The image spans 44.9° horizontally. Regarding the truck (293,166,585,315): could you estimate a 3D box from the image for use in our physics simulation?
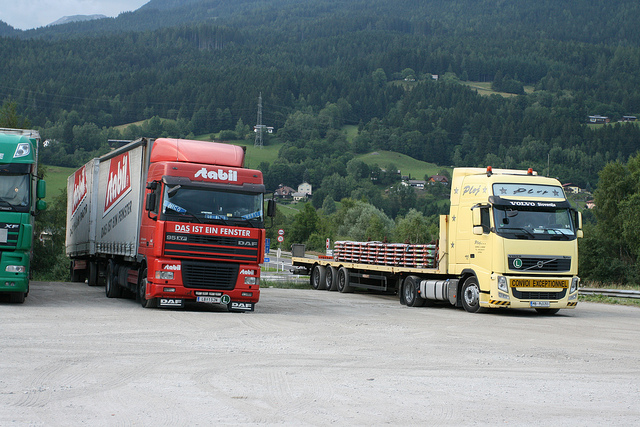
[{"bbox_3d":[3.602,1.162,33.443,3.882,5.400,15.935,3,-2,-28],"label":"truck"}]

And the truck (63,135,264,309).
[{"bbox_3d":[-5.582,0.407,26.423,3.040,5.873,7.992,-1,2,-44],"label":"truck"}]
